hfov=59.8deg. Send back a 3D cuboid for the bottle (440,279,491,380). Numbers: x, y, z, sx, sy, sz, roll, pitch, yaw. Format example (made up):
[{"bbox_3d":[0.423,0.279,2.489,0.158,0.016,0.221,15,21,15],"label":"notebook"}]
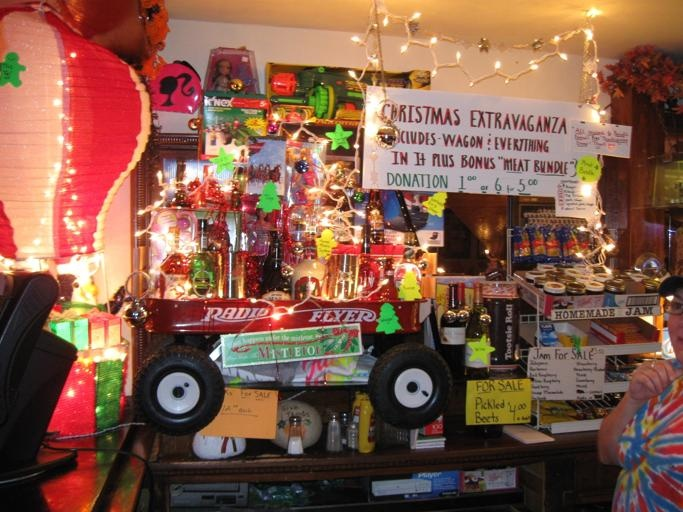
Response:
[{"bbox_3d":[0.485,0.294,2.315,0.200,0.384,0.119,0,5,6],"label":"bottle"}]

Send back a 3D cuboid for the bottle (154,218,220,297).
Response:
[{"bbox_3d":[-0.536,0.009,2.036,0.292,0.356,0.141,1,-8,-7],"label":"bottle"}]

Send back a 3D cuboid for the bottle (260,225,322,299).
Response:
[{"bbox_3d":[-0.183,0.024,2.220,0.299,0.372,0.154,2,-3,-2],"label":"bottle"}]

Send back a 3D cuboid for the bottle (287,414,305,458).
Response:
[{"bbox_3d":[-0.170,0.657,2.150,0.056,0.131,0.055,0,5,0],"label":"bottle"}]

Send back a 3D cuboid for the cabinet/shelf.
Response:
[{"bbox_3d":[1.044,0.264,2.590,0.581,0.689,0.413,-1,9,-4],"label":"cabinet/shelf"}]
